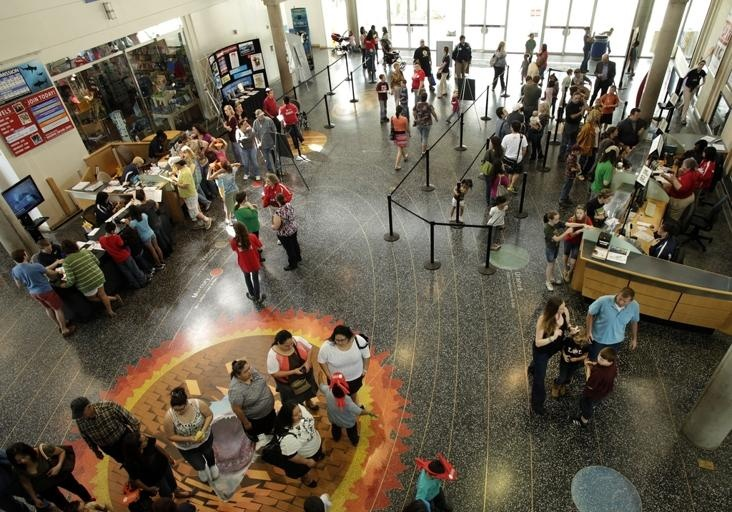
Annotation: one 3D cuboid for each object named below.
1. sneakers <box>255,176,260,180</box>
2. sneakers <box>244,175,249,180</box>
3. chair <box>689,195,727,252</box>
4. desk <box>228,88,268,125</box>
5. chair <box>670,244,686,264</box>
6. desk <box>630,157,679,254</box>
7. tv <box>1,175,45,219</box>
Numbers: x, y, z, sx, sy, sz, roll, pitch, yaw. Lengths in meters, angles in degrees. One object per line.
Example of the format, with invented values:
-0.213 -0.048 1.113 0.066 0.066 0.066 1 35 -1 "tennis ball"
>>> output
-3.096 -2.253 13.148 0.116 0.098 0.100 -6 78 -12 "sneakers"
-3.470 -2.299 13.284 0.099 0.077 0.179 -2 39 1 "sneakers"
7.481 -0.695 10.092 0.675 0.963 0.612 -43 56 -6 "chair"
-4.144 -5.520 16.607 0.539 0.542 1.483 22 56 35 "desk"
5.927 -0.049 8.731 0.137 0.392 0.300 12 12 29 "chair"
6.006 -1.005 9.566 0.612 1.129 2.178 17 67 37 "desk"
-7.883 -1.387 10.502 0.091 0.686 0.951 2 48 23 "tv"
